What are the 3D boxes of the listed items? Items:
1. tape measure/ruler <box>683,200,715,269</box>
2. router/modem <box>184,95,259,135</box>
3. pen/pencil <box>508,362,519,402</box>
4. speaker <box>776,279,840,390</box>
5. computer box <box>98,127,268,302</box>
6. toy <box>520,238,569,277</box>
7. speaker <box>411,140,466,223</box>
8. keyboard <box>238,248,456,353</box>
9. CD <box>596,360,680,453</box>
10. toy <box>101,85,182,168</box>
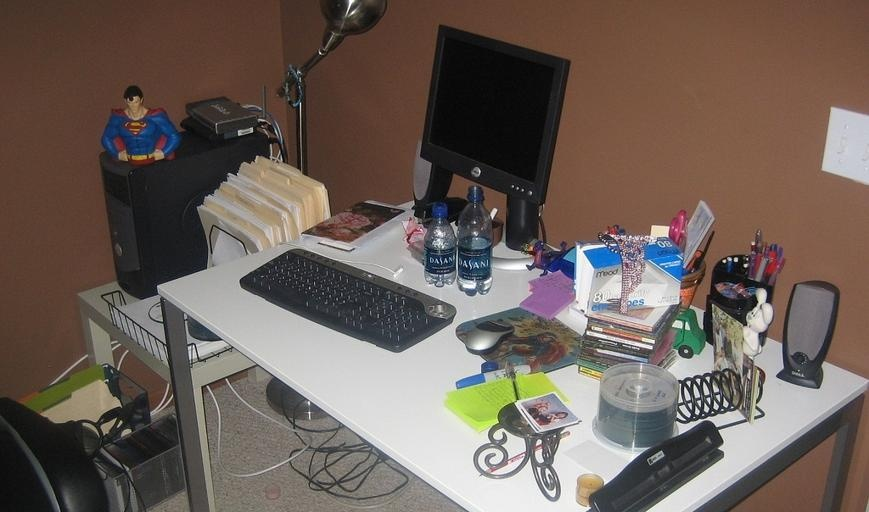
[{"bbox_3d":[0.808,-0.057,2.024,0.086,0.199,0.150,14,40,14],"label":"tape measure/ruler"},{"bbox_3d":[-0.909,-0.587,2.718,0.237,0.103,0.257,-20,35,-38],"label":"router/modem"},{"bbox_3d":[0.220,0.365,1.871,0.023,0.027,0.082,-7,43,0],"label":"pen/pencil"},{"bbox_3d":[1.092,0.226,1.897,0.142,0.265,0.178,14,29,19],"label":"speaker"},{"bbox_3d":[-1.092,-0.216,2.766,0.323,0.497,0.589,21,29,27],"label":"computer box"},{"bbox_3d":[0.397,0.001,2.293,0.134,0.052,0.133,25,51,35],"label":"toy"},{"bbox_3d":[0.011,-0.281,2.453,0.177,0.314,0.177,25,51,17],"label":"speaker"},{"bbox_3d":[-0.309,0.138,2.159,0.742,0.099,0.301,19,31,34],"label":"keyboard"},{"bbox_3d":[0.557,0.415,1.791,0.225,0.144,0.203,8,22,26],"label":"CD"},{"bbox_3d":[-1.130,-0.502,2.473,0.273,0.267,0.122,-8,29,-21],"label":"toy"}]
